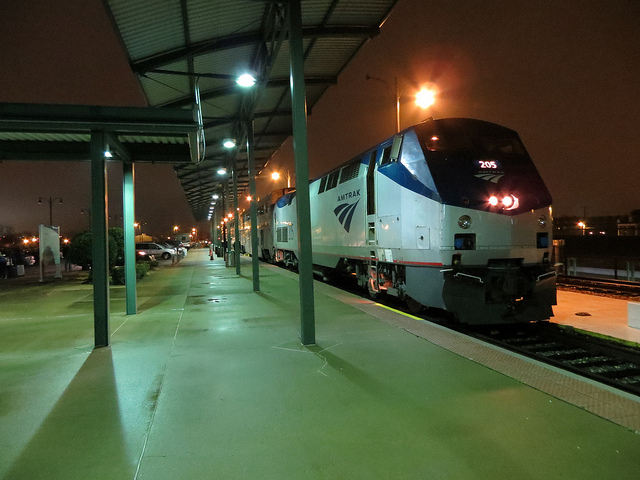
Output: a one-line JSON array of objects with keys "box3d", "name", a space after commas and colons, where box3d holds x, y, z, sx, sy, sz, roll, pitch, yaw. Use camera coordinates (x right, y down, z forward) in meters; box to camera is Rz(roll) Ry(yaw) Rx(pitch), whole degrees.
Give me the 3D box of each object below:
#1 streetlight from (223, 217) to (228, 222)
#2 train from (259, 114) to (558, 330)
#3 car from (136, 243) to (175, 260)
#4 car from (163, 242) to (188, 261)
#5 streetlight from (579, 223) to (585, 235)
[{"box3d": [-4.923, -1.067, 25.712, 0.342, 0.185, 0.629, -10, 5, -8], "name": "streetlight"}, {"box3d": [1.794, -0.781, 15.721, 3.112, 4.244, 13.349, -1, 3, -19], "name": "train"}, {"box3d": [-11.953, 0.842, 35.449, 2.099, 0.953, 1.007, -4, 5, -26], "name": "car"}, {"box3d": [-11.837, 0.919, 39.977, 2.352, 0.927, 1.130, 6, -4, -23], "name": "car"}, {"box3d": [40.370, -1.718, 75.285, 0.386, 1.971, 0.520, -8, -15, 10], "name": "streetlight"}]
